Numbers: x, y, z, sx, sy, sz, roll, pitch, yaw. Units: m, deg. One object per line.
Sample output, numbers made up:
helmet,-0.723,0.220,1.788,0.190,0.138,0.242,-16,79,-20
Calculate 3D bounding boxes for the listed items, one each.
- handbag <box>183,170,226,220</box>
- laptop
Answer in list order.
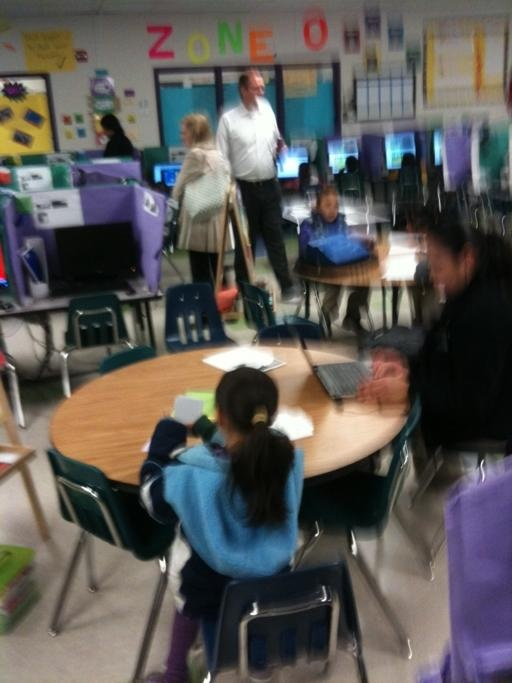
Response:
handbag,-0.317,-1.005,3.159,0.201,0.285,0.079,26,5,37
laptop,0.207,0.077,1.521,0.178,0.219,0.285,-26,-11,21
